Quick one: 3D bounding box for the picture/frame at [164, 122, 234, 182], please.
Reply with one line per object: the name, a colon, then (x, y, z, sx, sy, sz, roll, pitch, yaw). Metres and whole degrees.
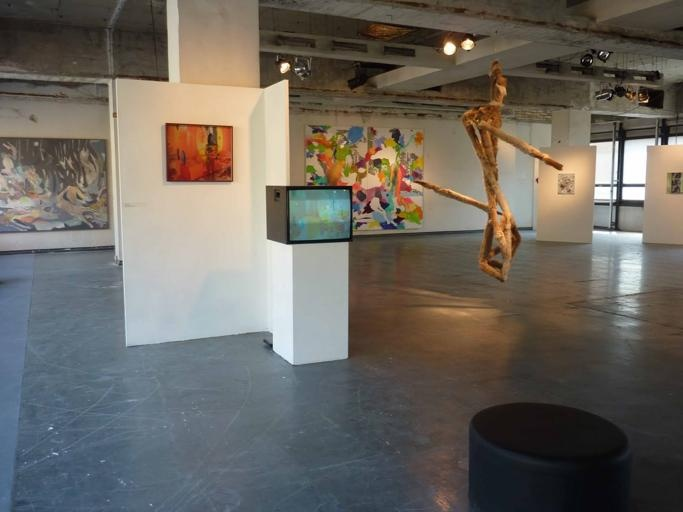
picture/frame: (-1.687, -1.219, 5.980, 0.725, 0.599, 0.049, -2, 7, -24)
